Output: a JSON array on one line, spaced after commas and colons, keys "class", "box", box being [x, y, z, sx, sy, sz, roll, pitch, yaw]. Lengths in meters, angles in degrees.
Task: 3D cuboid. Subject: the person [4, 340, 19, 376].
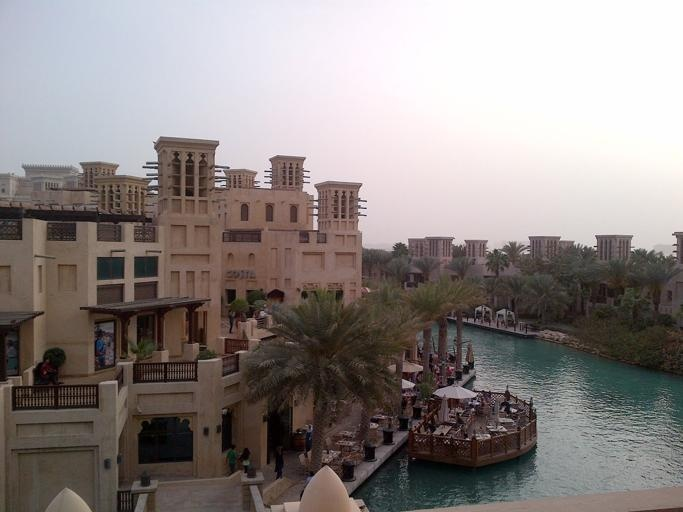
[{"class": "person", "box": [-12.967, 3.956, 26.927, 0.505, 1.575, 0.319, 0, -2, -38]}]

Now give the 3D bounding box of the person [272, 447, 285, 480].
[{"class": "person", "box": [-2.710, 9.019, 29.754, 0.427, 1.431, 2.016, -2, -2, -6]}]

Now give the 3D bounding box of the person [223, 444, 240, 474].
[{"class": "person", "box": [-4.717, 8.955, 29.515, 0.566, 1.076, 1.012, -2, -2, -6]}]

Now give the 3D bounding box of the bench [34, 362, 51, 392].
[{"class": "bench", "box": [-11.698, 4.830, 26.669, 0.709, 1.546, 0.540, 5, -6, -26]}]
